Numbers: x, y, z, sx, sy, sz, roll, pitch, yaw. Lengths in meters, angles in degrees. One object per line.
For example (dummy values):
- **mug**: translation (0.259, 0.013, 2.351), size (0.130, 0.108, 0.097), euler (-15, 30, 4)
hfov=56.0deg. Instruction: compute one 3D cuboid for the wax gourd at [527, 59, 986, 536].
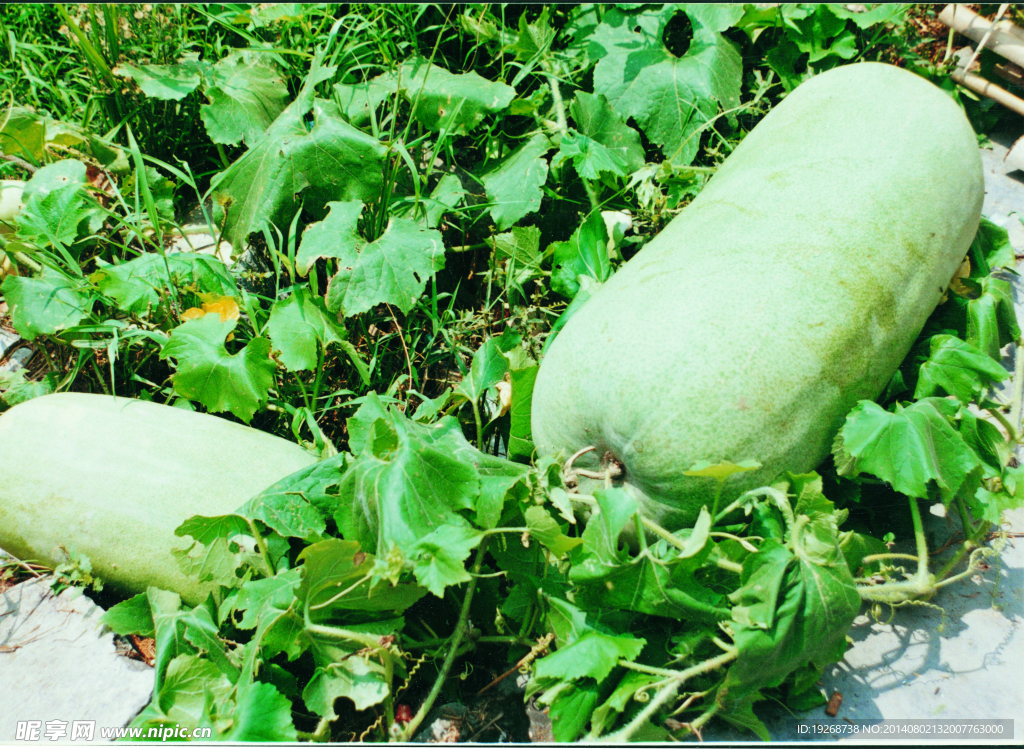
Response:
- **wax gourd**: translation (0.792, -0.256, 3.126), size (1.803, 0.800, 0.836), euler (-43, 31, -17)
